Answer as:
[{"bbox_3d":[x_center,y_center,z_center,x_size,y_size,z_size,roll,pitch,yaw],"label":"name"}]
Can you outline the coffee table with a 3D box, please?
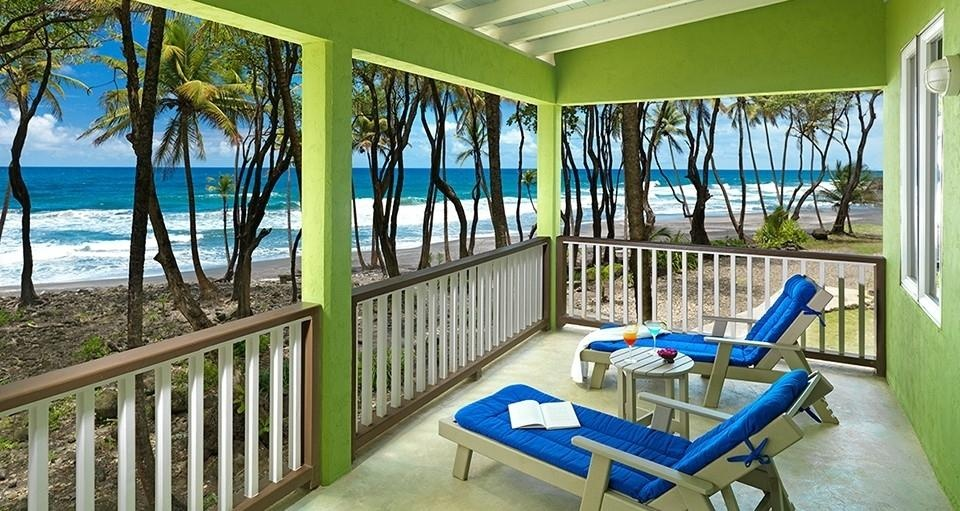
[{"bbox_3d":[2.393,1.860,8.548,1.231,1.261,1.244,5,17,20],"label":"coffee table"}]
